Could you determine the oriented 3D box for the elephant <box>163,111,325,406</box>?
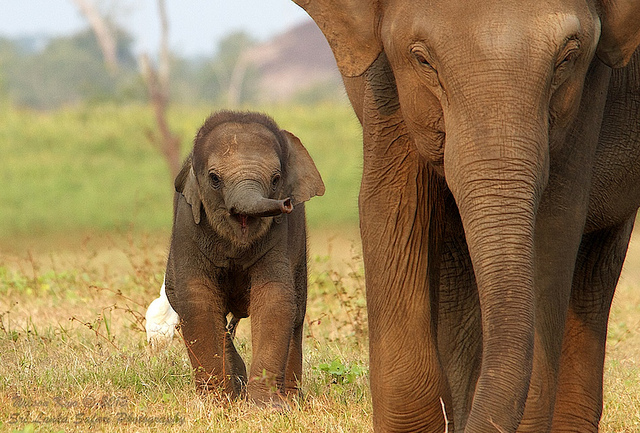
[{"bbox_3d":[-0.442,0.352,6.873,0.906,1.897,2.514,-7,-6,-6],"label":"elephant"}]
